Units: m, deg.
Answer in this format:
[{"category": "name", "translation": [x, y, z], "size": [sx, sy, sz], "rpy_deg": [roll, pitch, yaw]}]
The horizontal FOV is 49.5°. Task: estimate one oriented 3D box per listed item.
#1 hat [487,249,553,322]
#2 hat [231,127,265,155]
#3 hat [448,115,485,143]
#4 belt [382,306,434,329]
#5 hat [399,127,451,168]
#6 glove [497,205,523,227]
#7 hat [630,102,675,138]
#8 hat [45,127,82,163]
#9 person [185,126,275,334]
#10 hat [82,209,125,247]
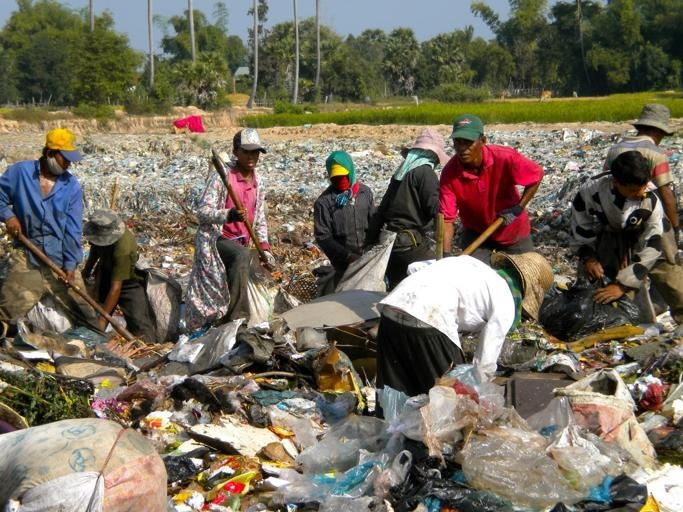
[{"category": "hat", "translation": [1.341, 0.161, 5.494], "size": [0.481, 0.482, 0.425], "rpy_deg": [-10, 24, -25]}, {"category": "hat", "translation": [-0.842, -0.999, 6.397], "size": [0.221, 0.181, 0.328], "rpy_deg": [-1, 7, -27]}, {"category": "hat", "translation": [1.004, -1.034, 5.929], "size": [0.260, 0.219, 0.219], "rpy_deg": [0, 6, 4]}, {"category": "belt", "translation": [0.388, 0.394, 4.634], "size": [0.210, 0.051, 0.155], "rpy_deg": [19, -8, -4]}, {"category": "hat", "translation": [0.853, -1.125, 7.041], "size": [0.480, 0.313, 0.512], "rpy_deg": [12, -13, 18]}, {"category": "glove", "translation": [1.337, -0.314, 5.845], "size": [0.137, 0.076, 0.177], "rpy_deg": [-20, 6, 3]}, {"category": "hat", "translation": [2.792, -1.239, 6.684], "size": [0.350, 0.201, 0.366], "rpy_deg": [13, 5, 2]}, {"category": "hat", "translation": [-2.455, -0.989, 6.509], "size": [0.286, 0.316, 0.567], "rpy_deg": [-3, 6, -21]}, {"category": "person", "translation": [-0.963, -0.209, 6.427], "size": [0.791, 1.779, 0.595], "rpy_deg": [-3, 8, -19]}, {"category": "hat", "translation": [-2.185, -0.272, 6.689], "size": [0.337, 0.318, 0.177], "rpy_deg": [14, -27, 11]}]
